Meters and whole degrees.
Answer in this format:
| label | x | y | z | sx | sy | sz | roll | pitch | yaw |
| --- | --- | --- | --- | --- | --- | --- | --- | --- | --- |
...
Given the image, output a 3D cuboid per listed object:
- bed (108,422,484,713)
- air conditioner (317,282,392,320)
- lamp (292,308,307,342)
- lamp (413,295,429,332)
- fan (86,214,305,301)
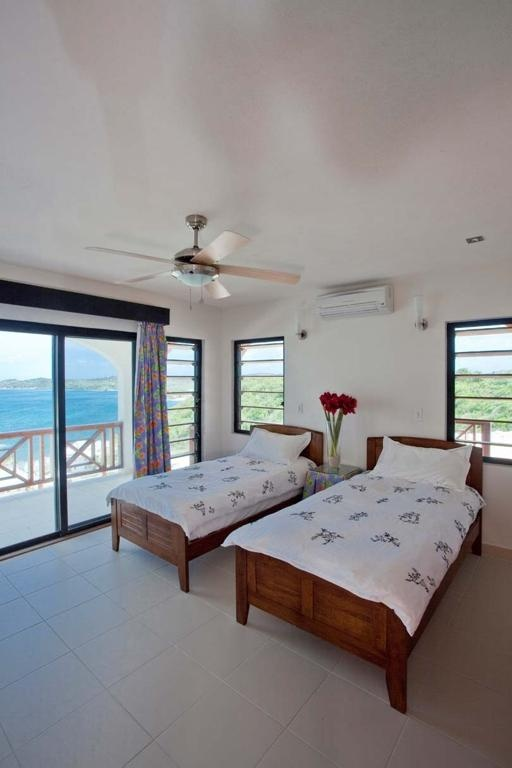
| label | x | y | z | sx | sy | sz | roll | pitch | yaw |
| --- | --- | --- | --- | --- | --- | --- | --- | --- | --- |
| bed | 0.575 | 0.756 | 2.896 | 1.460 | 0.690 | 1.388 | 0 | 0 | 37 |
| air conditioner | 0.859 | -0.689 | 4.136 | 0.279 | 0.245 | 0.667 | -4 | 6 | -43 |
| lamp | 0.436 | -0.567 | 4.741 | 0.070 | 0.289 | 0.181 | -2 | 5 | -27 |
| lamp | 1.279 | -0.548 | 3.815 | 0.141 | 0.271 | 0.131 | -4 | 6 | -42 |
| fan | -0.274 | -0.713 | 2.752 | 0.800 | 0.368 | 1.485 | -2 | 5 | -25 |
